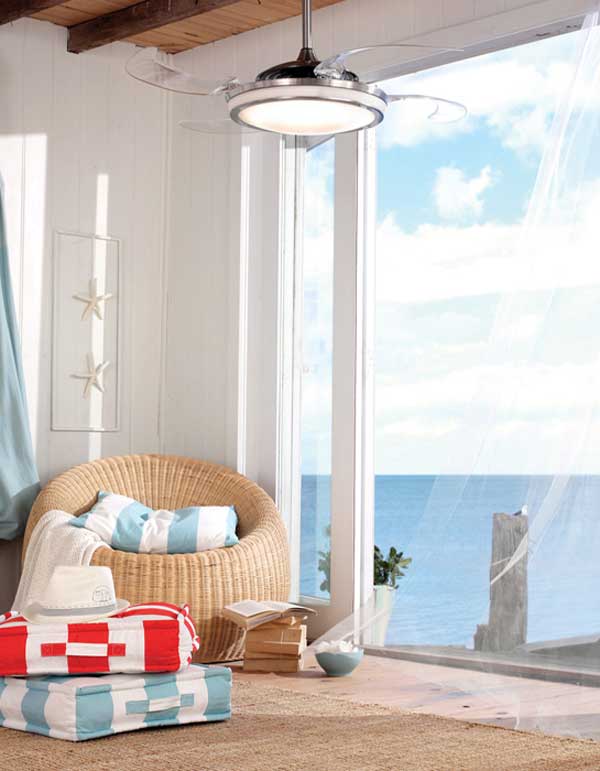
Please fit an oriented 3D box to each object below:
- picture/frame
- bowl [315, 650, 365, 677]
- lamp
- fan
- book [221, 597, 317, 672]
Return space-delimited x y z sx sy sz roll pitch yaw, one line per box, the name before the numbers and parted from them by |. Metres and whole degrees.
picture/frame | -0.906 -0.219 4.511 0.374 0.826 0.291 -1 15 -38
bowl | 0.118 0.858 3.305 0.116 0.057 0.108 0 -15 0
lamp | 0.014 -0.679 2.607 0.384 0.114 0.270 7 11 0
fan | -0.061 -0.694 2.560 0.521 0.175 0.486 1 1 10
book | -0.113 0.796 3.528 0.348 0.202 0.214 0 -2 12
